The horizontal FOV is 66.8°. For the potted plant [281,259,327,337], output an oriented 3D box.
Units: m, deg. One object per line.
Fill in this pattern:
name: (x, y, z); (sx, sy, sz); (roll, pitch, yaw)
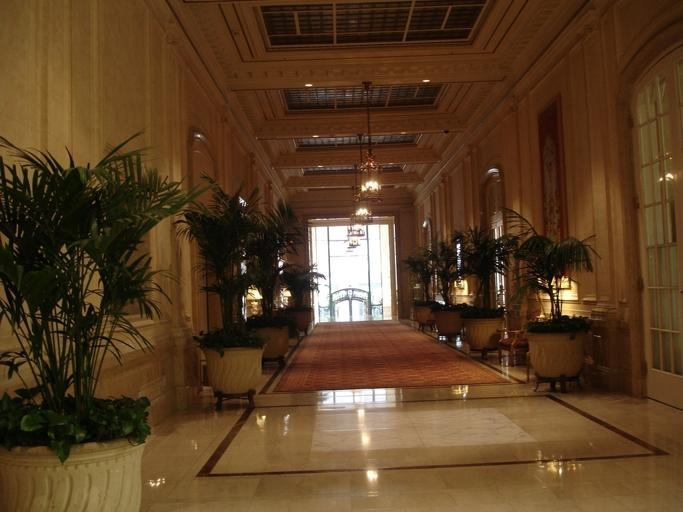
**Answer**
potted plant: (-1.316, 1.299, 17.166); (2.018, 2.683, 2.033); (0, -8, 0)
